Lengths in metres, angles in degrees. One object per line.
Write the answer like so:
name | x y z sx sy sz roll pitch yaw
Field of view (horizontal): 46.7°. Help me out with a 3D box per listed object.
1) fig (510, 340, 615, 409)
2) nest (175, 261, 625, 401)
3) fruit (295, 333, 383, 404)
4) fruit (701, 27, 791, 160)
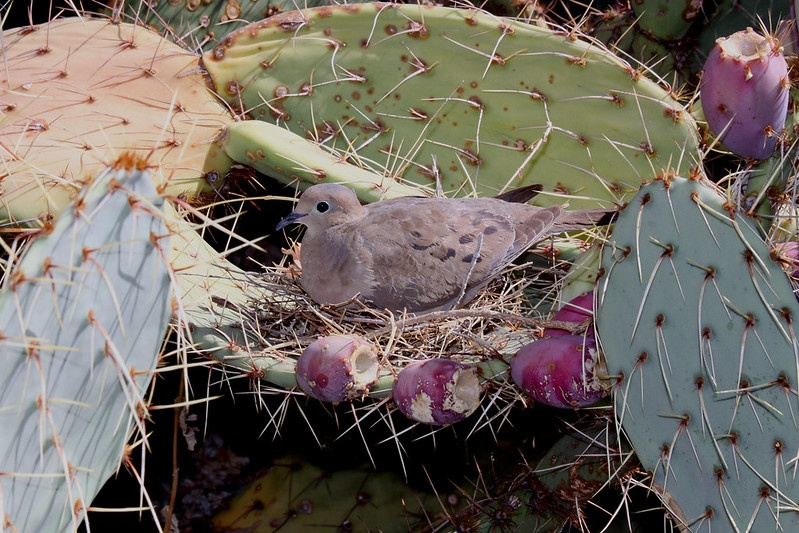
fig | 0.359 0.220 2.020 0.188 0.104 0.143 3 45 21
nest | -0.008 0.162 2.212 0.729 0.191 0.183 -10 35 1
fruit | -0.136 0.237 2.113 0.198 0.150 0.134 3 42 -8
fruit | 0.846 -0.402 2.241 0.218 0.299 0.243 -34 44 -28
